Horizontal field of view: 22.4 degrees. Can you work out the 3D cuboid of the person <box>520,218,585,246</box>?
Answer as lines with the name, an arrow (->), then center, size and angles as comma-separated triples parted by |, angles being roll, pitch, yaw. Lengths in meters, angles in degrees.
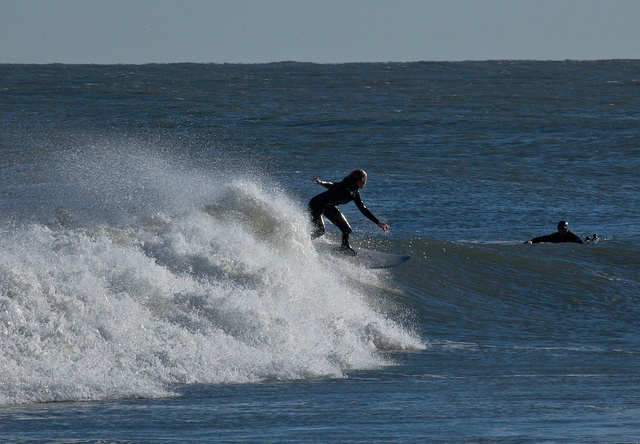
person -> 9.326, 0.596, 63.532 | 2.061, 1.333, 0.866 | 1, 70, 3
